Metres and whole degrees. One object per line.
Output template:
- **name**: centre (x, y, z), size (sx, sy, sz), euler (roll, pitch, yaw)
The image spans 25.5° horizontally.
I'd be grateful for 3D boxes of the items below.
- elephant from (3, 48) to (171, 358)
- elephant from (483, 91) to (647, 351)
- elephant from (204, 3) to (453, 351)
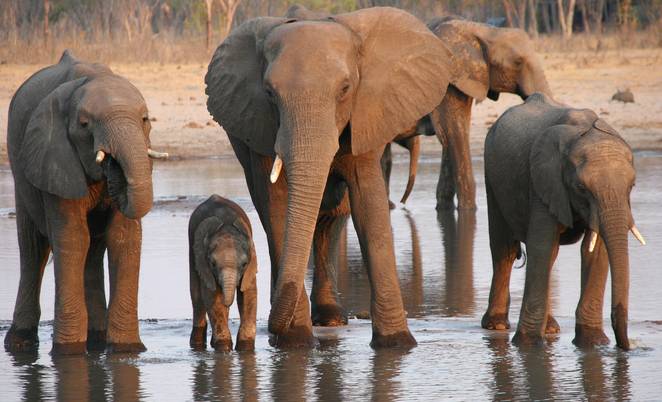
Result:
- **elephant**: centre (-2.826, 0.091, 16.307), size (1.995, 3.311, 1.084), euler (1, 6, 37)
- **elephant**: centre (2.506, 0.274, 16.506), size (1.095, 2.745, 1.854), euler (-6, 6, -34)
- **elephant**: centre (-0.077, -0.265, 16.627), size (2.300, 3.883, 1.958), euler (-5, 5, -22)
